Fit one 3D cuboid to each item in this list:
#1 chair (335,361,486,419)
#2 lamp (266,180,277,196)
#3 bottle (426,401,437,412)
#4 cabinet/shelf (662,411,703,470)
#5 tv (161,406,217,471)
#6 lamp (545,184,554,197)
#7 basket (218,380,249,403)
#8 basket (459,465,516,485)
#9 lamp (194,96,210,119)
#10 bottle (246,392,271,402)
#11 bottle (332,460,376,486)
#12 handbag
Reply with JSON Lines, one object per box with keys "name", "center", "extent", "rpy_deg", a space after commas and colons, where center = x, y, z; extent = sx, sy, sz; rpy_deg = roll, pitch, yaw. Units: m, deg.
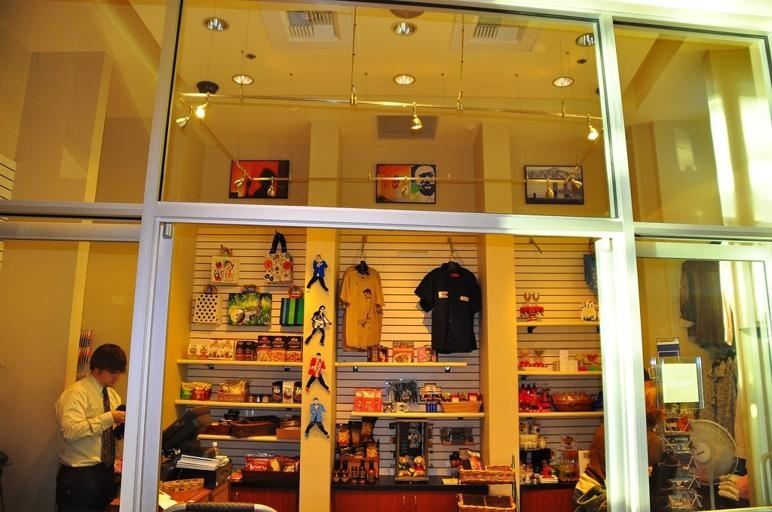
{"name": "chair", "center": [0.274, 1.573, 7.593], "extent": [1.679, 0.587, 0.390], "rpy_deg": [2, -10, -1]}
{"name": "lamp", "center": [-1.225, -0.711, 6.753], "extent": [0.115, 0.165, 0.170], "rpy_deg": [1, 14, -4]}
{"name": "bottle", "center": [0.503, 1.773, 7.591], "extent": [0.176, 0.161, 0.093], "rpy_deg": [1, -19, -1]}
{"name": "cabinet/shelf", "center": [1.890, 1.153, 4.167], "extent": [0.236, 0.315, 0.229], "rpy_deg": [2, 21, 13]}
{"name": "tv", "center": [-1.788, 1.566, 5.442], "extent": [0.449, 0.451, 0.417], "rpy_deg": [-10, -8, 2]}
{"name": "lamp", "center": [1.623, -0.668, 6.428], "extent": [0.082, 0.152, 0.272], "rpy_deg": [-1, -10, 13]}
{"name": "basket", "center": [-1.841, 1.610, 7.715], "extent": [0.361, 0.266, 0.247], "rpy_deg": [4, -10, -12]}
{"name": "basket", "center": [1.087, 2.355, 7.037], "extent": [0.448, 0.121, 0.266], "rpy_deg": [-1, -14, 1]}
{"name": "lamp", "center": [-1.474, -1.171, 5.088], "extent": [0.126, 0.168, 0.127], "rpy_deg": [-1, 10, -20]}
{"name": "bottle", "center": [-1.528, 1.694, 7.689], "extent": [0.268, 0.095, 0.274], "rpy_deg": [1, -9, 0]}
{"name": "bottle", "center": [-0.357, 2.431, 7.255], "extent": [0.502, 0.262, 0.179], "rpy_deg": [2, -10, -5]}
{"name": "handbag", "center": [-1.715, 0.331, 8.040], "extent": [1.194, 1.062, 0.382], "rpy_deg": [-1, -2, 2]}
